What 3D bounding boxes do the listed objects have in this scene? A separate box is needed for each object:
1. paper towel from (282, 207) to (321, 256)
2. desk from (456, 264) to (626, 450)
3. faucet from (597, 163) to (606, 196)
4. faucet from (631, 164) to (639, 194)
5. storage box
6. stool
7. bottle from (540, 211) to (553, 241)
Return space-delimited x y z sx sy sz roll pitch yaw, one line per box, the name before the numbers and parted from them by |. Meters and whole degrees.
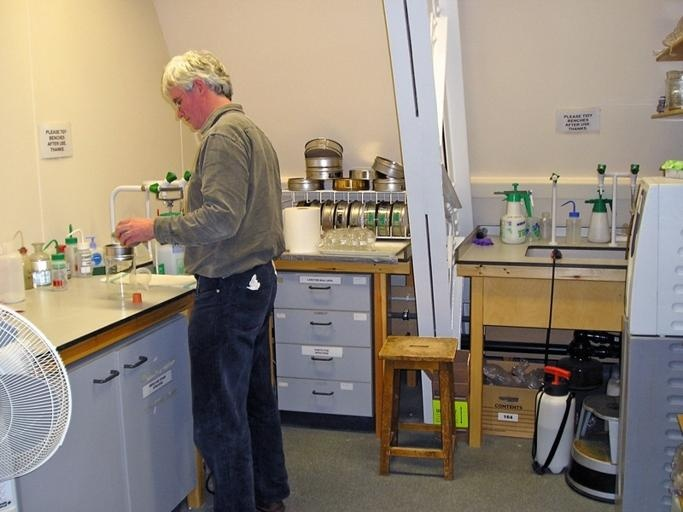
paper towel | -0.230 -0.162 3.328 0.239 0.300 0.252 -2 9 -1
desk | 1.035 0.529 3.292 0.901 0.963 0.728 3 1 -9
faucet | 1.590 -0.479 3.418 0.056 0.230 0.064 1 10 10
faucet | 1.767 -0.477 3.363 0.047 0.169 0.525 5 14 27
storage box | 0.985 0.830 3.273 0.372 0.250 0.384 0 3 15
stool | 0.401 0.772 2.984 0.425 0.677 0.423 1 12 10
bottle | 1.319 -0.202 3.606 0.072 0.164 0.185 3 13 20
